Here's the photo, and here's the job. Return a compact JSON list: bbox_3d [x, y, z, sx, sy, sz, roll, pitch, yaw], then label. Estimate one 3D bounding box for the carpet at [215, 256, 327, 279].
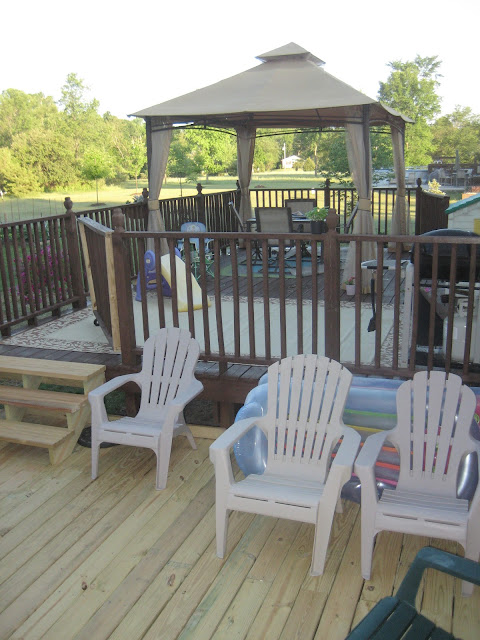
[{"bbox_3d":[0.554,-0.807,7.847,1.145,0.045,1.018,-1,19,9],"label":"carpet"}]
